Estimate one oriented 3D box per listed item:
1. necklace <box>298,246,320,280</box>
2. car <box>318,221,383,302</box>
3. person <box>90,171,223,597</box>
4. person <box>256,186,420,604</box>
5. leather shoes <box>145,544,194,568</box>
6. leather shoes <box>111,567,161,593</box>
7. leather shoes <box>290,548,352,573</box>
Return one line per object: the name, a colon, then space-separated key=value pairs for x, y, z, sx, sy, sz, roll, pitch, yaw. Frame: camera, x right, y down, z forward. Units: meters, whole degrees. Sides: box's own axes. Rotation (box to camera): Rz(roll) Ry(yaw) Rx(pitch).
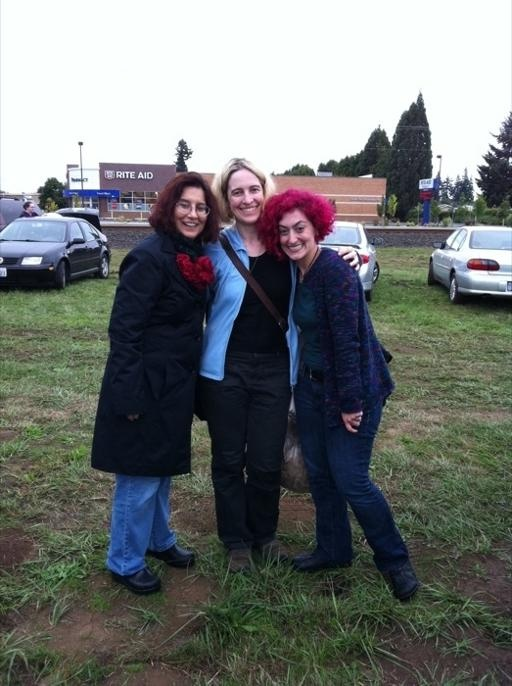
necklace: x=0.217 y=-0.325 z=2.154 sx=0.078 sy=0.144 sz=0.105 roll=26 pitch=16 yaw=8
car: x=1.976 y=-1.611 z=10.137 sx=1.440 sy=1.185 sz=2.859 roll=4 pitch=26 yaw=12
person: x=-0.401 y=0.178 z=2.168 sx=0.322 sy=1.742 sz=0.565 roll=8 pitch=13 yaw=35
person: x=0.355 y=0.198 z=2.187 sx=0.349 sy=1.654 sz=0.748 roll=-9 pitch=14 yaw=-42
leather shoes: x=-0.410 y=0.977 z=2.424 sx=0.234 sy=0.096 sz=0.084 roll=1 pitch=6 yaw=5
leather shoes: x=-0.495 y=0.969 z=2.171 sx=0.203 sy=0.085 sz=0.086 roll=5 pitch=9 yaw=14
leather shoes: x=0.284 y=0.950 z=2.327 sx=0.164 sy=0.055 sz=0.129 roll=2 pitch=1 yaw=-7
